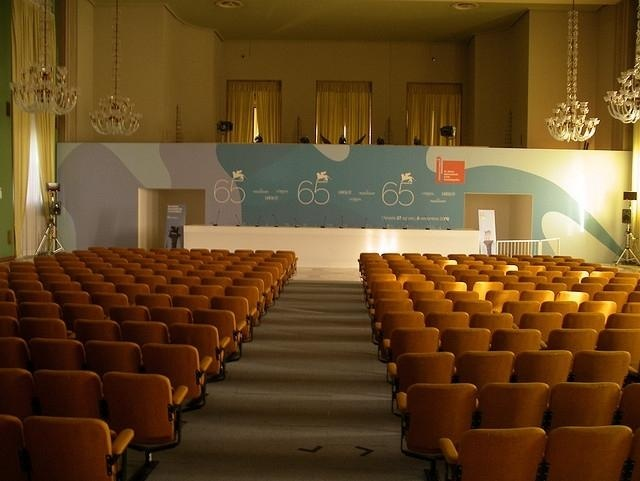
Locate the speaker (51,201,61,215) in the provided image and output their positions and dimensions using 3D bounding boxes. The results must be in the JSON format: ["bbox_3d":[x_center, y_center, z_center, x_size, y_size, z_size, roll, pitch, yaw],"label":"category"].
[{"bbox_3d":[-7.504,-0.910,14.799,0.278,0.452,0.307,-1,-1,15],"label":"speaker"}]

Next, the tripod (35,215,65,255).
[{"bbox_3d":[-7.769,-0.190,14.805,0.717,1.250,0.725,3,0,44],"label":"tripod"}]
